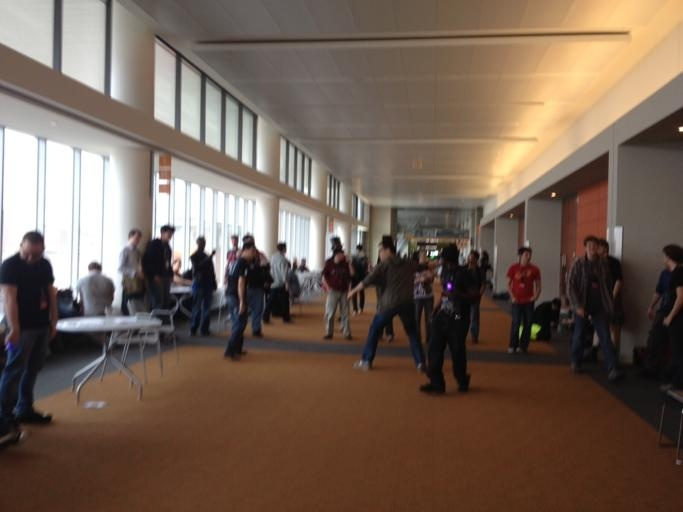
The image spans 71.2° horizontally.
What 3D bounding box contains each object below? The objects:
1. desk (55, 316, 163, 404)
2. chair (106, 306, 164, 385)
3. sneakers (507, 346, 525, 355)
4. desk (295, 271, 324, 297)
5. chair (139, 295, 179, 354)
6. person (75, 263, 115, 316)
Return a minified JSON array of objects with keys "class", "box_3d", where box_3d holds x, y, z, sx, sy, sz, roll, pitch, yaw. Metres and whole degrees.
[{"class":"desk","box_3d":[-2.823,1.230,5.751,1.058,0.953,1.121,2,-1,-20]},{"class":"chair","box_3d":[-2.844,1.259,6.562,0.666,1.133,0.700,-2,-9,33]},{"class":"sneakers","box_3d":[3.047,1.636,8.318,0.290,0.155,0.108,-1,2,-1]},{"class":"desk","box_3d":[-1.163,1.053,16.901,0.781,0.689,0.874,-3,3,11]},{"class":"chair","box_3d":[-2.953,1.109,7.683,0.625,1.089,0.684,0,-8,-4]},{"class":"person","box_3d":[-3.857,0.502,7.465,0.493,0.836,0.324,0,2,-21]}]
